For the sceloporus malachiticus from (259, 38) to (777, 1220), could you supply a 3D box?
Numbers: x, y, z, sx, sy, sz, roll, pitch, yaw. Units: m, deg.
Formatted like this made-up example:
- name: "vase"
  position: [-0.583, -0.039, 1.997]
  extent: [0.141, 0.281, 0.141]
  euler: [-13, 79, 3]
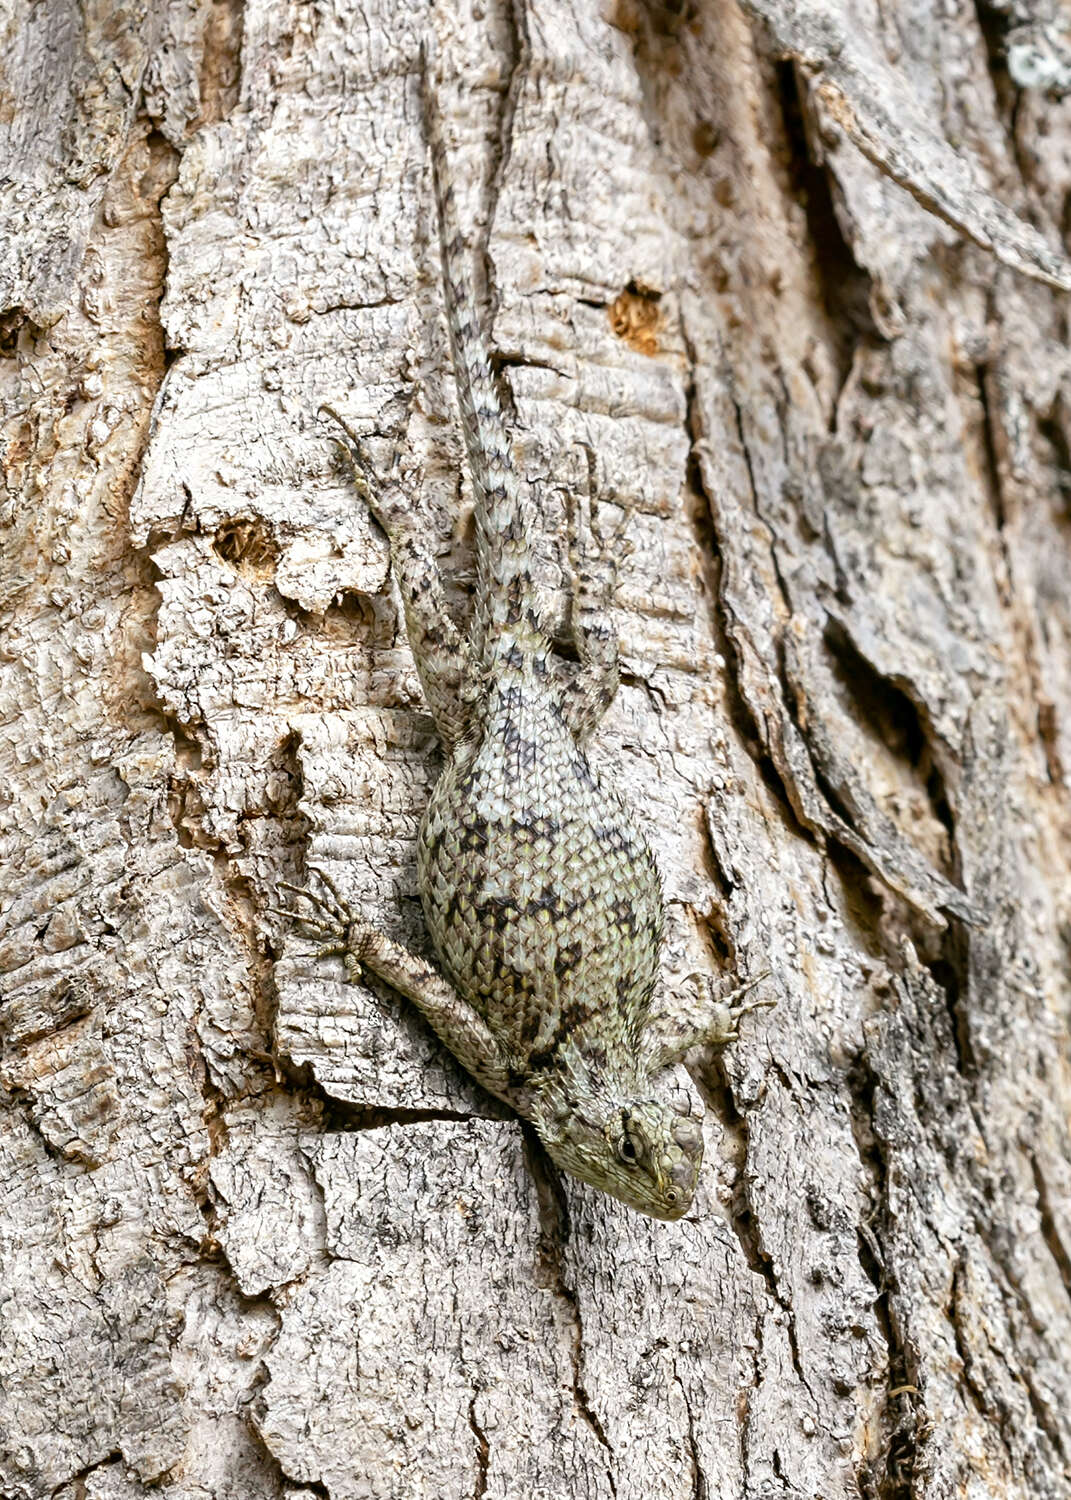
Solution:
- name: "sceloporus malachiticus"
  position: [-0.045, -0.166, 3.674]
  extent: [0.593, 0.222, 1.626]
  euler: [1, 70, -38]
